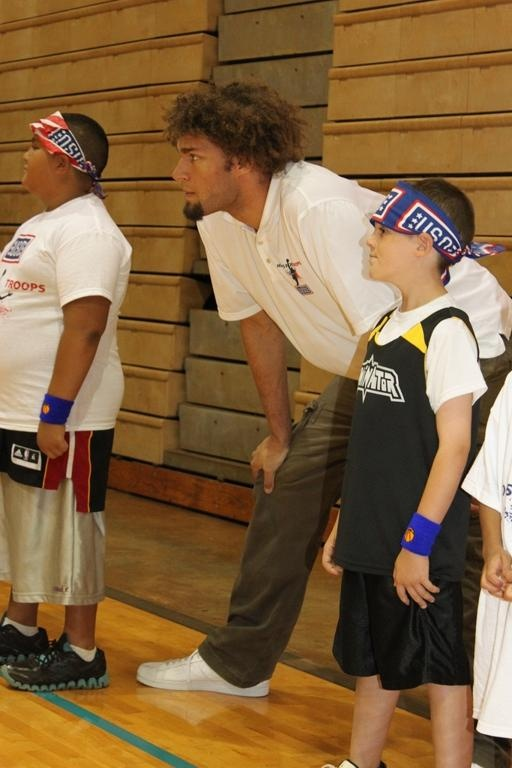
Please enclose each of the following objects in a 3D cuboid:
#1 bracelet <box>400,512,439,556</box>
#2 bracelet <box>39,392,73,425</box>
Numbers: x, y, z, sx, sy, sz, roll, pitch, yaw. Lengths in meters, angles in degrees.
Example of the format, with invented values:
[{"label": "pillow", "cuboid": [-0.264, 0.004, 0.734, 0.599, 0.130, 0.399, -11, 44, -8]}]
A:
[{"label": "bracelet", "cuboid": [0.238, 0.217, 0.939, 0.037, 0.064, 0.052, 5, -4, -6]}, {"label": "bracelet", "cuboid": [-0.506, 0.067, 1.689, 0.079, 0.079, 0.080, 21, 6, 2]}]
